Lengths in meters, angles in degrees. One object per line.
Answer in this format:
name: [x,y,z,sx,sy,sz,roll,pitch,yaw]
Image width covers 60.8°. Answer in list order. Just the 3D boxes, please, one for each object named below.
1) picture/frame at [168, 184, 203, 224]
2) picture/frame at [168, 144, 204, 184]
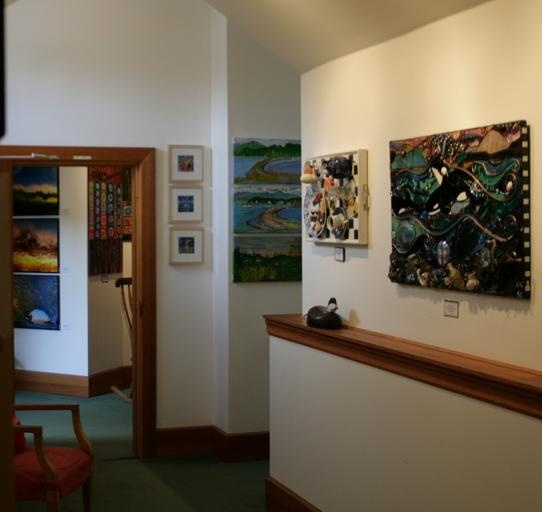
picture/frame: [-0.733,-0.441,3.987,0.287,0.372,0.032,0,-29,-14]
picture/frame: [-0.730,-0.794,3.975,0.292,0.360,0.023,-5,44,-17]
